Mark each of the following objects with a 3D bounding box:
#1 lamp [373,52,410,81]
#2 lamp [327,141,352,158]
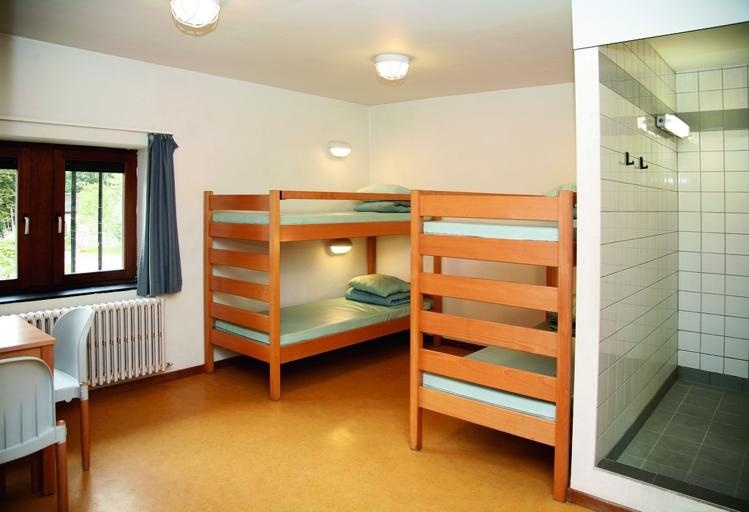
[{"bbox_3d":[0.168,-1.625,4.609,0.219,0.128,0.213,-2,4,-23],"label":"lamp"},{"bbox_3d":[-0.338,-1.225,6.124,0.189,0.201,0.384,9,16,30],"label":"lamp"}]
